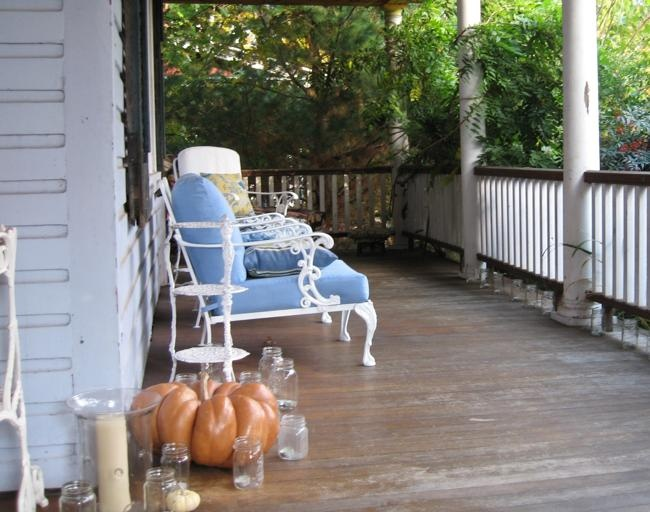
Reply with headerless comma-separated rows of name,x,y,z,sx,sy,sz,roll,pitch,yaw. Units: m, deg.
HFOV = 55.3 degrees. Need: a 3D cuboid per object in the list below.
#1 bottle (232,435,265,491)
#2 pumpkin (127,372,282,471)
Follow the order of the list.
bottle,-0.259,0.689,2.125,0.101,0.167,0.122,1,10,14
pumpkin,-0.449,0.621,2.400,0.505,0.299,0.535,5,-1,-22
